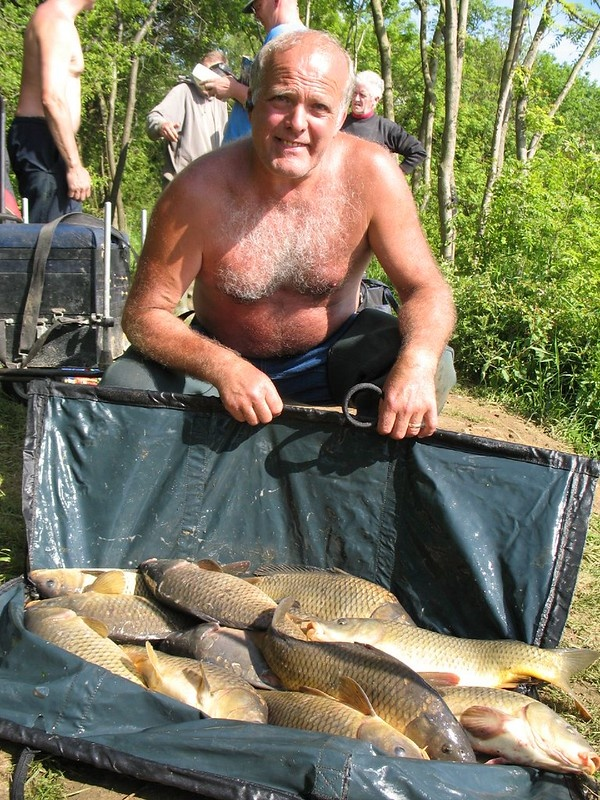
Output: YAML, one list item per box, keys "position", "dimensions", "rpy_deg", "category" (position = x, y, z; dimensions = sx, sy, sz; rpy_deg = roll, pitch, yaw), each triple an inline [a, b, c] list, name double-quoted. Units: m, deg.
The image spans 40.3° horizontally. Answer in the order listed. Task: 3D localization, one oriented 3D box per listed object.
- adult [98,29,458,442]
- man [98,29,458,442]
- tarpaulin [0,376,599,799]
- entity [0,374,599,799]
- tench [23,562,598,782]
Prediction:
- position: [-0.016, -0.537, 2.920]
  dimensions: [1.396, 1.391, 1.083]
  rpy_deg: [-5, 31, -21]
  category: "adult"
- position: [-0.036, -0.537, 2.912]
  dimensions: [1.361, 1.343, 1.053]
  rpy_deg: [-4, 30, -17]
  category: "man"
- position: [-0.040, 0.491, 2.579]
  dimensions: [1.519, 0.414, 0.987]
  rpy_deg: [7, 34, 2]
  category: "tarpaulin"
- position: [-0.051, 0.505, 2.546]
  dimensions: [1.499, 0.420, 1.003]
  rpy_deg: [7, 34, 3]
  category: "entity"
- position: [0.005, 0.693, 2.083]
  dimensions: [1.108, 0.198, 0.363]
  rpy_deg: [9, 10, 15]
  category: "tench"
